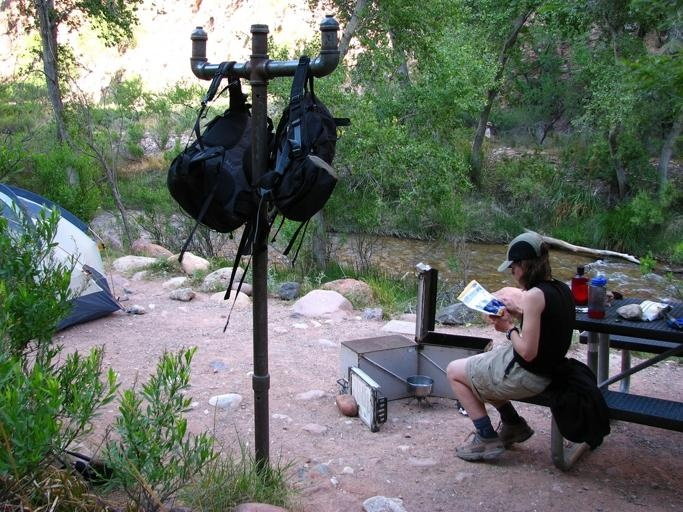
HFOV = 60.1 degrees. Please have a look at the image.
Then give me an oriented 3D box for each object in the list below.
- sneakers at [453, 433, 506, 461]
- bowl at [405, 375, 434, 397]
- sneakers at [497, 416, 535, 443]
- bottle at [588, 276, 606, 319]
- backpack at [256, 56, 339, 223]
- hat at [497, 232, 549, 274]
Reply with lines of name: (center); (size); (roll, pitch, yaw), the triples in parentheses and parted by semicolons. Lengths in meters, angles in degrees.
sneakers: (1.168, 1.601, 5.018); (0.419, 0.240, 0.182); (-3, 3, 15)
bowl: (0.770, 1.301, 5.950); (0.154, 0.186, 0.261); (-4, 4, -37)
sneakers: (1.470, 1.490, 5.025); (0.364, 0.184, 0.148); (-20, 26, 38)
bottle: (2.189, 0.328, 5.054); (0.152, 0.344, 0.310); (7, 13, 23)
backpack: (-0.262, -0.783, 3.973); (0.464, 1.097, 0.386); (2, 12, 3)
hat: (1.482, -0.040, 4.750); (0.283, 0.234, 0.418); (-5, -14, -27)
